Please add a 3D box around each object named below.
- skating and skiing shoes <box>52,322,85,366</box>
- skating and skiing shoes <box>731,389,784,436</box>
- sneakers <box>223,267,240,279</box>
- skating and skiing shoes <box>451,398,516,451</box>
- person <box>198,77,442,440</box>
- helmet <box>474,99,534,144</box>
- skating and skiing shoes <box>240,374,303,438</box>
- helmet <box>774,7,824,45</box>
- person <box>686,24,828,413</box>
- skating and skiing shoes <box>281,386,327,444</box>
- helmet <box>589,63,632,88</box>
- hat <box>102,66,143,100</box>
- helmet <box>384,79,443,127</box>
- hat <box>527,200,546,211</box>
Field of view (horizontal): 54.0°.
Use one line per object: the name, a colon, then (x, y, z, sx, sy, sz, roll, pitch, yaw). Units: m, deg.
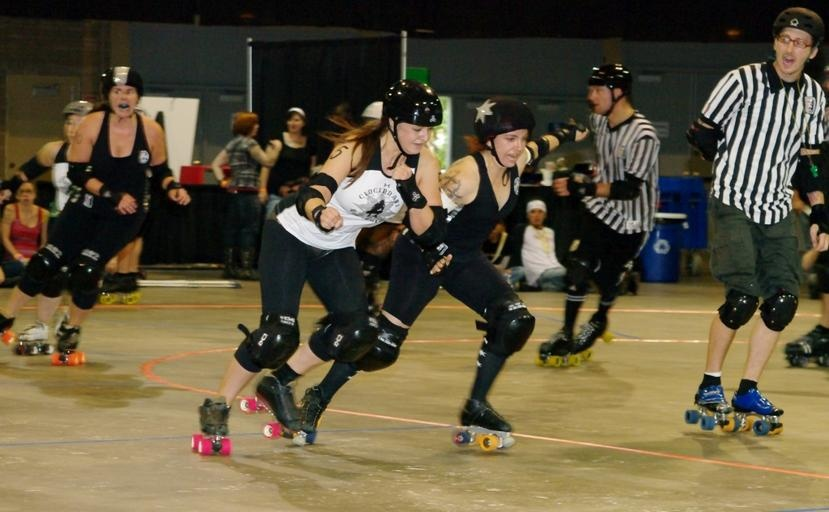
skating and skiing shoes: (-2.526, 0.661, 5.933, 0.189, 0.175, 0.355, 2, -1, -21)
skating and skiing shoes: (1.973, 0.916, 4.696, 0.227, 0.213, 0.370, 8, -5, -20)
sneakers: (-2.498, 0.234, 11.148, 0.137, 0.185, 0.184, 1, 10, -18)
skating and skiing shoes: (0.368, 0.902, 4.366, 0.343, 0.217, 0.210, 0, -1, 31)
person: (-0.411, 0.026, 4.128, 1.140, 1.889, 0.513, 2, 4, -23)
helmet: (0.467, -0.737, 4.445, 0.298, 0.221, 0.241, 24, 16, 33)
skating and skiing shoes: (-0.702, 0.778, 4.329, 0.403, 0.201, 0.223, 39, 25, 31)
helmet: (2.248, -1.349, 4.770, 0.221, 0.155, 0.274, 25, 17, 16)
person: (2.044, -0.289, 4.828, 0.679, 2.457, 0.660, 7, 5, 37)
skating and skiing shoes: (-0.553, 0.851, 4.292, 0.137, 0.382, 0.169, 24, -22, -38)
helmet: (1.513, -1.397, 6.292, 0.270, 0.203, 0.208, 15, 5, 9)
hat: (-2.017, -1.224, 5.679, 0.223, 0.156, 0.273, 0, -22, -7)
helmet: (-0.023, -0.766, 4.075, 0.282, 0.247, 0.229, 4, 10, 36)
hat: (1.524, -0.661, 10.254, 0.177, 0.124, 0.221, -2, -1, 4)
